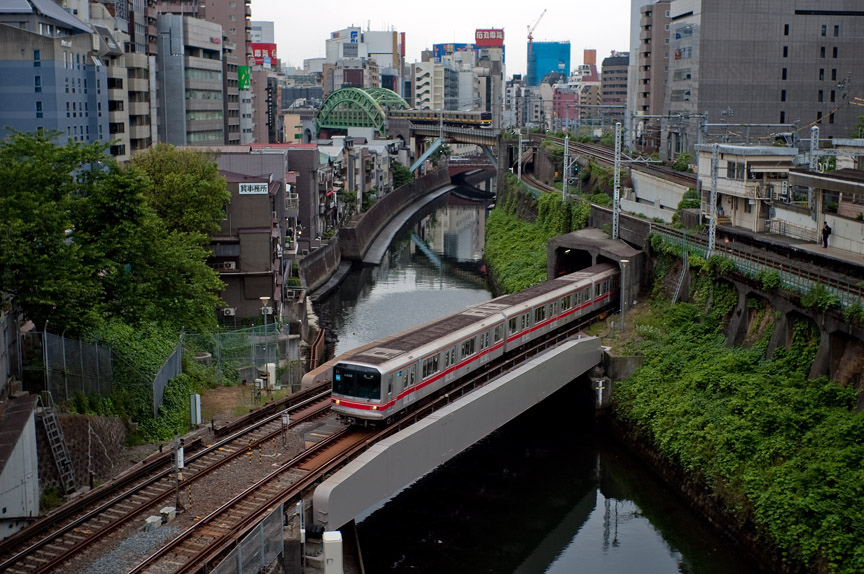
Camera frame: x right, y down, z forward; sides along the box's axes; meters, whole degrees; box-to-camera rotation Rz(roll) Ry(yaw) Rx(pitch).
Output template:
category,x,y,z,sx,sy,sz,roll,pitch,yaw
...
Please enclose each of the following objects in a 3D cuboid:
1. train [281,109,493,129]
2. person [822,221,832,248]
category,x,y,z,sx,sy,sz,roll,pitch,yaw
train,-2.266,-28.385,123.382,28.223,2.905,9.330,6,16,26
person,19.765,-2.603,36.806,0.415,1.137,1.009,6,15,28
